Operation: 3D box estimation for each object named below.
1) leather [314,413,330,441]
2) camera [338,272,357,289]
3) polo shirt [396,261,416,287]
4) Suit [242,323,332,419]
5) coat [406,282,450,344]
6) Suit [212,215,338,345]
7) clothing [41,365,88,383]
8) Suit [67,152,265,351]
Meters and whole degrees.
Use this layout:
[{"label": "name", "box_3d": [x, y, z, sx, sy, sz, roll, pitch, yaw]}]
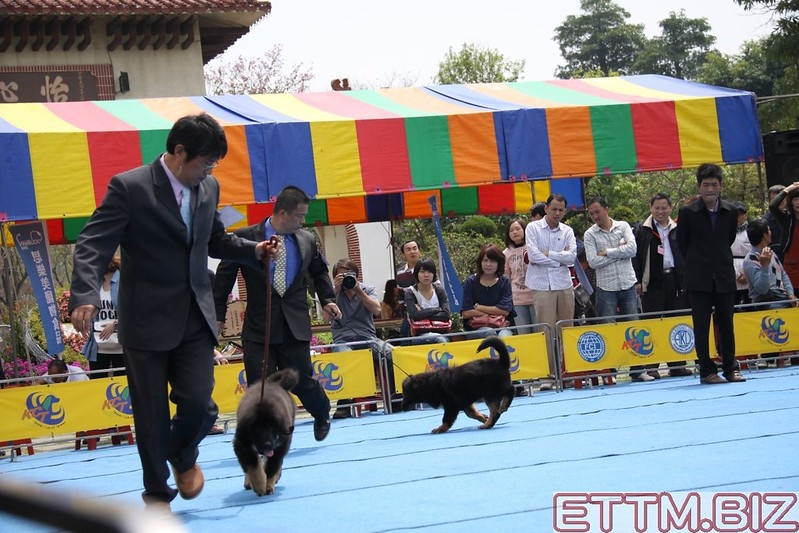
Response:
[{"label": "leather", "box_3d": [-0.915, 1.908, 10.538, 0.125, 0.382, 0.151, -6, -6, 29]}, {"label": "camera", "box_3d": [-0.656, 0.178, 11.706, 0.182, 0.197, 0.241, 2, 13, -2]}, {"label": "polo shirt", "box_3d": [0.096, 0.151, 16.296, 0.102, 0.405, 0.408, -2, -4, -43]}, {"label": "Suit", "box_3d": [-1.229, 1.232, 10.122, 0.896, 1.283, 0.425, 10, -32, -32]}, {"label": "coat", "box_3d": [0.467, 0.716, 13.766, 0.625, 0.948, 0.496, -5, 15, -17]}, {"label": "Suit", "box_3d": [-1.463, 0.167, 10.381, 1.376, 1.361, 0.730, 0, 5, -11]}, {"label": "clothing", "box_3d": [-4.934, 1.586, 13.114, 0.405, 0.180, 0.550, -1, 0, 13]}, {"label": "Suit", "box_3d": [-2.248, -0.112, 7.965, 1.364, 1.751, 0.467, -6, 2, -22]}]
